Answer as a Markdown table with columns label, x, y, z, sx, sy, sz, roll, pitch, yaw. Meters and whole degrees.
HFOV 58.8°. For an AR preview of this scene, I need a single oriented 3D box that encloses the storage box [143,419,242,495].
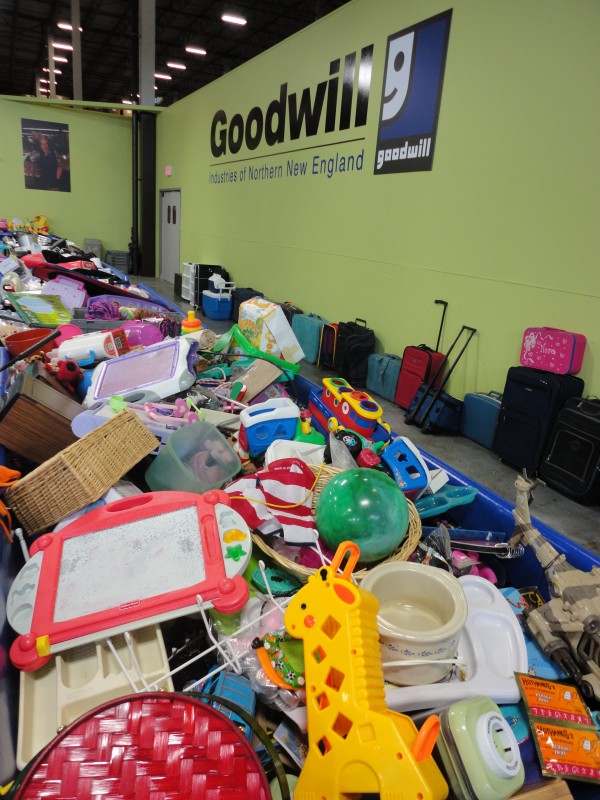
| label | x | y | z | sx | sy | sz | roll | pitch | yaw |
| --- | --- | --- | --- | --- | --- | --- | --- | --- | --- |
| storage box | -0.287 | 0.163 | 1.572 | 0.191 | 0.176 | 0.240 | 50 | 26 | 8 |

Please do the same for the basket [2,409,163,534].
| label | x | y | z | sx | sy | sz | roll | pitch | yaw |
| --- | --- | --- | --- | --- | --- | --- | --- | --- | --- |
| basket | -0.503 | 0.191 | 1.329 | 0.336 | 0.140 | 0.222 | -45 | 10 | -25 |

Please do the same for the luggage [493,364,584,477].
| label | x | y | z | sx | sy | sz | roll | pitch | yaw |
| --- | --- | --- | --- | --- | --- | --- | --- | --- | --- |
| luggage | 1.329 | 0.117 | 2.946 | 0.347 | 0.667 | 0.409 | -4 | 26 | -21 |

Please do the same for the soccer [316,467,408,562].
| label | x | y | z | sx | sy | sz | roll | pitch | yaw |
| --- | --- | --- | --- | --- | --- | --- | --- | --- | --- |
| soccer | 0.159 | 0.296 | 1.334 | 0.220 | 0.194 | 0.187 | 3 | 22 | -13 |

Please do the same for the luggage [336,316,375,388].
| label | x | y | z | sx | sy | sz | roll | pitch | yaw |
| --- | --- | --- | --- | --- | --- | --- | --- | --- | --- |
| luggage | 0.444 | -0.429 | 4.510 | 0.283 | 0.519 | 0.435 | -7 | 24 | -21 |

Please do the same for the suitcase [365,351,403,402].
| label | x | y | z | sx | sy | sz | roll | pitch | yaw |
| --- | --- | --- | --- | --- | --- | --- | --- | --- | --- |
| suitcase | 0.648 | -0.191 | 4.096 | 0.190 | 0.327 | 0.312 | -2 | 24 | -29 |

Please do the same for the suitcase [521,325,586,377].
| label | x | y | z | sx | sy | sz | roll | pitch | yaw |
| --- | --- | --- | --- | --- | --- | --- | --- | --- | --- |
| suitcase | 1.393 | -0.271 | 2.912 | 0.098 | 0.212 | 0.260 | -1 | 15 | -32 |

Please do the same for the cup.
| label | x | y | z | sx | sy | sz | roll | pitch | yaw |
| --- | --- | --- | --- | --- | --- | --- | --- | --- | --- |
| cup | 0.225 | 0.438 | 1.068 | 0.203 | 0.137 | 0.270 | 10 | 37 | 15 |

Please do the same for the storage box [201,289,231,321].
| label | x | y | z | sx | sy | sz | roll | pitch | yaw |
| --- | --- | --- | --- | --- | --- | --- | --- | --- | --- |
| storage box | -1.037 | -1.197 | 6.495 | 0.303 | 0.406 | 0.427 | -4 | 31 | -21 |
